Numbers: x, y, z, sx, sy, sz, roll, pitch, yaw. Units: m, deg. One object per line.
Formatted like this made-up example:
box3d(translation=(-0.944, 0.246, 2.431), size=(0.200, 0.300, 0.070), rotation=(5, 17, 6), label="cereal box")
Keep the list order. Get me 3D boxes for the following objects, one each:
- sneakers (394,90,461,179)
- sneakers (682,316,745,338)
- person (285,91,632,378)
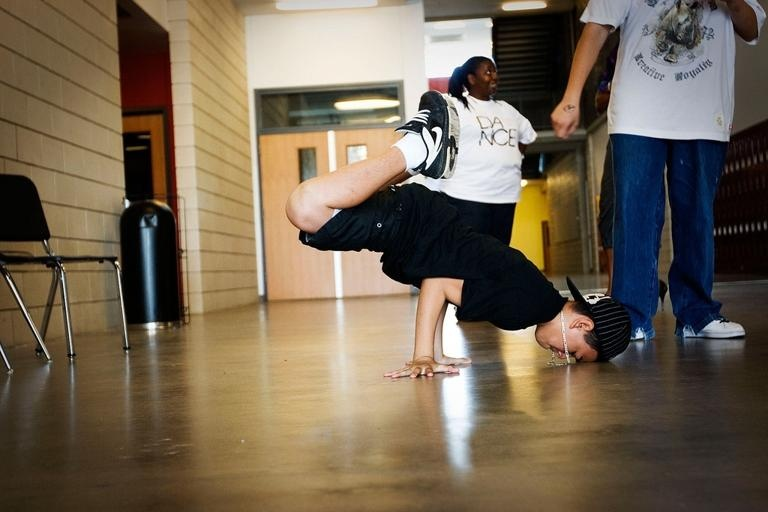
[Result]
box3d(translation=(0.153, -0.428, 2.409), size=(0.220, 0.331, 0.198), rotation=(-4, 7, -12), label="sneakers")
box3d(translation=(1.550, 0.349, 3.093), size=(0.296, 0.121, 0.113), rotation=(-6, -11, 22), label="sneakers")
box3d(translation=(0.328, -0.078, 2.627), size=(1.398, 1.111, 0.750), rotation=(10, 2, -6), label="person")
